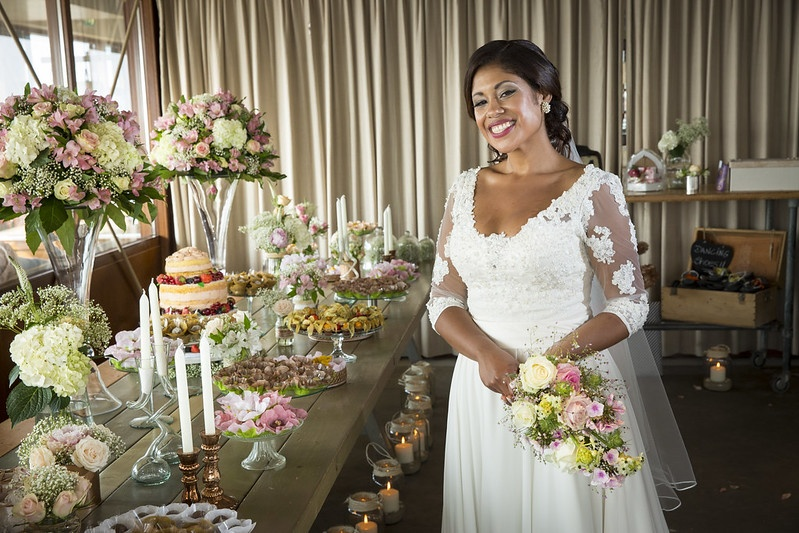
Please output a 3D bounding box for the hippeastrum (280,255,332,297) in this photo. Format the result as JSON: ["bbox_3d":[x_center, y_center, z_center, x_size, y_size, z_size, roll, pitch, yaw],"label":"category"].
[{"bbox_3d":[-0.485,0.027,3.186,0.231,0.214,0.220,4,10,7],"label":"hippeastrum"}]

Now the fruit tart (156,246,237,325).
[{"bbox_3d":[-0.948,0.092,2.844,0.318,0.306,0.267,-1,14,-11],"label":"fruit tart"}]

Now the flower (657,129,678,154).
[{"bbox_3d":[2.120,-0.998,4.947,0.140,0.089,0.163,-14,24,5],"label":"flower"}]

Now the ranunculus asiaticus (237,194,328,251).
[{"bbox_3d":[-0.688,-0.214,3.621,0.412,0.478,0.401,3,-1,6],"label":"ranunculus asiaticus"}]

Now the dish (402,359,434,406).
[{"bbox_3d":[0.113,0.793,4.266,0.245,0.425,0.241,-1,1,-1],"label":"dish"}]

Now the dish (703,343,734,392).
[{"bbox_3d":[2.559,0.817,4.998,0.193,0.336,0.201,4,3,26],"label":"dish"}]

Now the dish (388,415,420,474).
[{"bbox_3d":[0.022,1.127,3.853,0.206,0.337,0.205,-16,-6,-8],"label":"dish"}]
